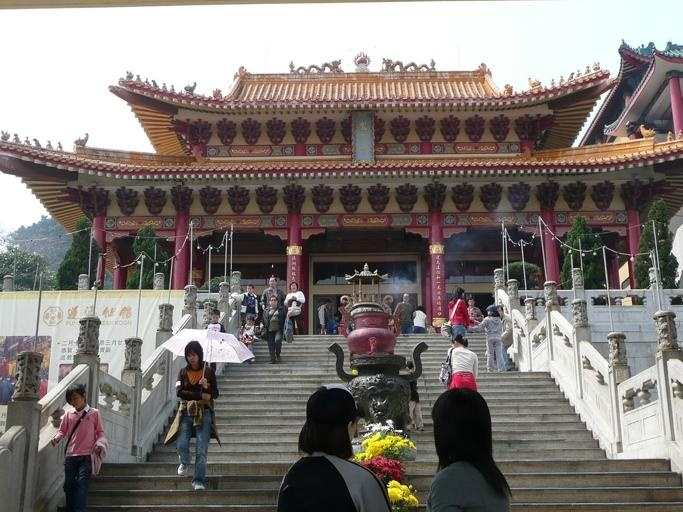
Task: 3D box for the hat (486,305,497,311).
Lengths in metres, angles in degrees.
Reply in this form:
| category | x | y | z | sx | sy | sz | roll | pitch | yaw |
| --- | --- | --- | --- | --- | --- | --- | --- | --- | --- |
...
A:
| category | x | y | z | sx | sy | sz | roll | pitch | yaw |
| --- | --- | --- | --- | --- | --- | --- | --- | --- | --- |
| hat | 3.230 | 1.112 | 14.681 | 0.208 | 0.111 | 0.153 | 2 | -1 | 12 |

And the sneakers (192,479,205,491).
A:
| category | x | y | z | sx | sy | sz | roll | pitch | yaw |
| --- | --- | --- | --- | --- | --- | --- | --- | --- | --- |
| sneakers | -1.853 | 2.976 | 8.914 | 0.178 | 0.112 | 0.127 | 1 | -13 | -3 |

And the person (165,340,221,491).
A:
| category | x | y | z | sx | sy | sz | roll | pitch | yaw |
| --- | --- | --- | --- | --- | --- | --- | --- | --- | --- |
| person | -1.997 | 2.124 | 9.254 | 0.674 | 1.915 | 0.662 | 4 | -13 | -18 |

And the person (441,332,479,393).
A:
| category | x | y | z | sx | sy | sz | roll | pitch | yaw |
| --- | --- | --- | --- | --- | --- | --- | --- | --- | --- |
| person | 1.782 | 1.569 | 10.356 | 0.505 | 0.843 | 0.886 | -2 | -13 | 7 |

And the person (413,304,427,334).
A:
| category | x | y | z | sx | sy | sz | roll | pitch | yaw |
| --- | --- | --- | --- | --- | --- | --- | --- | --- | --- |
| person | 2.075 | 1.674 | 18.107 | 0.332 | 0.844 | 0.824 | -1 | -13 | 3 |

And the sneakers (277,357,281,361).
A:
| category | x | y | z | sx | sy | sz | roll | pitch | yaw |
| --- | --- | --- | --- | --- | --- | --- | --- | --- | --- |
| sneakers | -1.372 | 2.262 | 15.137 | 0.075 | 0.076 | 0.138 | -1 | -10 | -1 |

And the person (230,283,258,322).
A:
| category | x | y | z | sx | sy | sz | roll | pitch | yaw |
| --- | --- | --- | --- | --- | --- | --- | --- | --- | --- |
| person | -2.493 | 1.218 | 17.413 | 0.818 | 1.100 | 0.386 | 2 | -11 | -19 |

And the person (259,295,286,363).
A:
| category | x | y | z | sx | sy | sz | roll | pitch | yaw |
| --- | --- | --- | --- | --- | --- | --- | --- | --- | --- |
| person | -1.478 | 1.572 | 15.022 | 0.472 | 1.555 | 0.661 | 1 | -13 | -6 |

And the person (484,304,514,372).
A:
| category | x | y | z | sx | sy | sz | roll | pitch | yaw |
| --- | --- | --- | --- | --- | --- | --- | --- | --- | --- |
| person | 3.519 | 1.873 | 15.235 | 0.442 | 1.416 | 0.590 | 5 | -52 | 5 |
